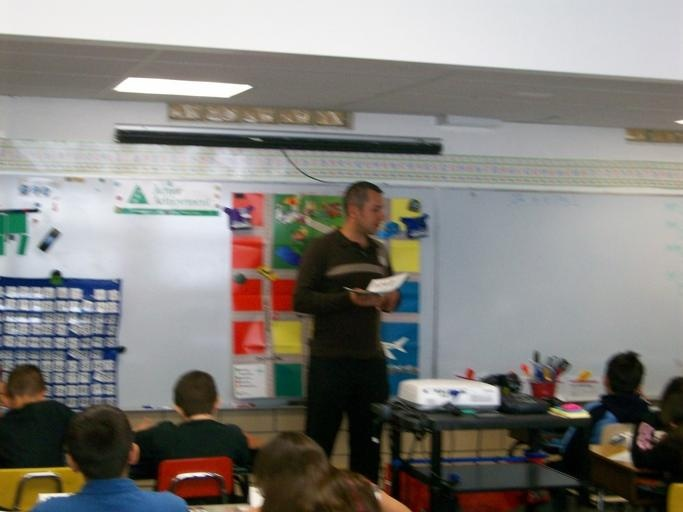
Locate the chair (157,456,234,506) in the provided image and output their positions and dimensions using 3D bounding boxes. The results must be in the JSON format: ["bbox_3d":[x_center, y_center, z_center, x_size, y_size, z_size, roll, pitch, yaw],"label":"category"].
[{"bbox_3d":[-0.692,1.029,4.022,0.274,0.295,0.262,1,3,-13],"label":"chair"}]

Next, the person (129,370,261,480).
[{"bbox_3d":[-0.654,0.886,4.235,0.807,0.568,0.320,-6,3,-10],"label":"person"}]

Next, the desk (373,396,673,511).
[{"bbox_3d":[0.868,0.963,4.243,1.184,0.496,0.725,-1,2,-20],"label":"desk"}]
